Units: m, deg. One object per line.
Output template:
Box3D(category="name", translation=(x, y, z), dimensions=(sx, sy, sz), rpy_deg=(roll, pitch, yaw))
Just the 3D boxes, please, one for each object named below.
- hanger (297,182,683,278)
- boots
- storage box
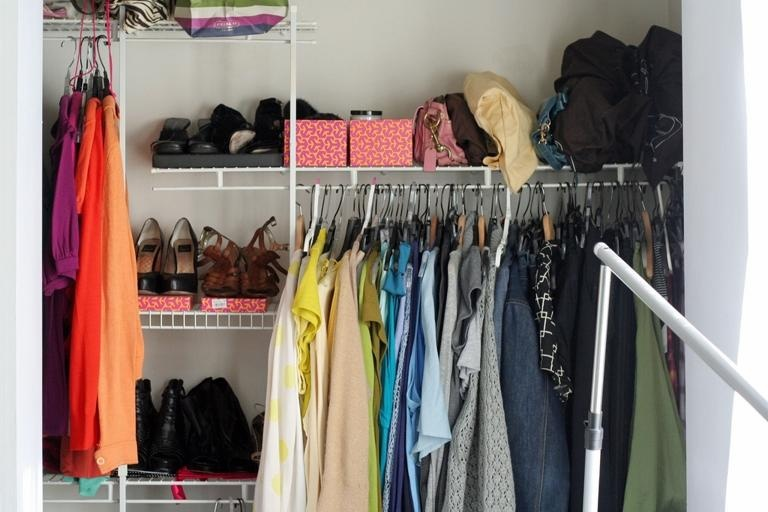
Box3D(category="hanger", translation=(0.462, -0.076, 3.501), dimensions=(1.619, 0.497, 0.661), rpy_deg=(0, 2, -4))
Box3D(category="boots", translation=(-0.862, 0.774, 3.555), dimensions=(0.328, 0.172, 0.474), rpy_deg=(0, 12, -13))
Box3D(category="storage box", translation=(-0.143, -0.484, 3.449), dimensions=(0.572, 0.207, 0.139), rpy_deg=(-1, 1, -13))
